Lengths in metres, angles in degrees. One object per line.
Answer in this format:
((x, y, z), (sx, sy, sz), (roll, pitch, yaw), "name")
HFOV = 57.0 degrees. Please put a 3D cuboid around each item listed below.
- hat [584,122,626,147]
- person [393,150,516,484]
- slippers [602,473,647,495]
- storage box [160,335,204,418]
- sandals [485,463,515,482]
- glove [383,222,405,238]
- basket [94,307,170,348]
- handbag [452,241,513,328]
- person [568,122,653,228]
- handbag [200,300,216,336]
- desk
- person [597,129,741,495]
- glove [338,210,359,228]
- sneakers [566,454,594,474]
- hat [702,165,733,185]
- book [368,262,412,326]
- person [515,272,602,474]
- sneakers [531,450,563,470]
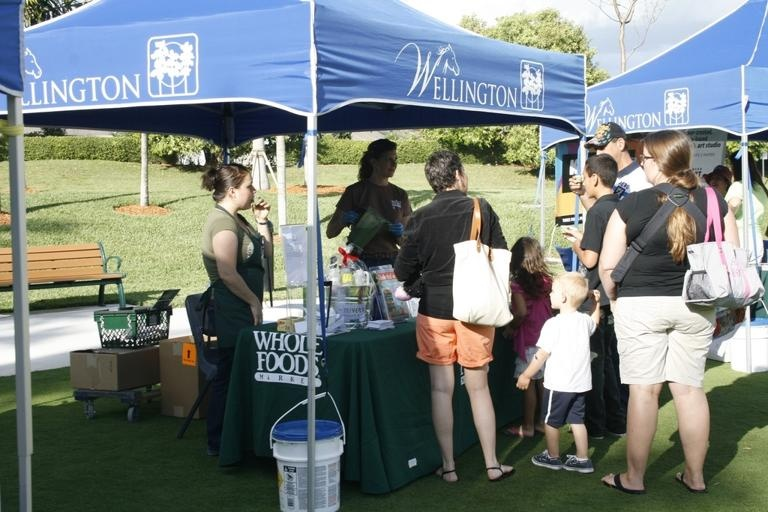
((1.977, -1.064, 6.265), (0.277, 0.165, 0.189), (0, 4, -3), "hat")
((0.527, 0.484, 5.528), (0.886, 2.567, 0.450), (-1, 7, 0), "person")
((1.850, 1.733, 5.429), (0.117, 0.099, 0.288), (-7, 11, -38), "slippers")
((-1.925, 1.175, 7.145), (0.388, 0.740, 0.756), (2, 5, 6), "storage box")
((0.928, 1.702, 5.638), (0.247, 0.106, 0.095), (-6, 5, -41), "sandals")
((0.095, -0.229, 6.598), (0.142, 0.151, 0.113), (-3, 3, 16), "glove")
((-2.502, 0.726, 7.163), (0.408, 0.311, 0.615), (-1, -1, 15), "basket")
((0.716, 0.216, 5.283), (0.557, 0.727, 0.271), (4, -3, -20), "handbag")
((1.954, -0.742, 6.609), (0.746, 1.202, 0.677), (0, -3, -15), "person")
((-1.523, 0.522, 5.952), (0.221, 0.289, 0.233), (-2, -2, -10), "handbag")
((-0.072, 1.153, 5.951), (1.170, 1.048, 2.038), (0, 0, 34), "desk")
((2.029, 0.452, 5.264), (0.831, 2.708, 0.398), (1, 7, 18), "person")
((-0.312, -0.356, 6.276), (0.146, 0.124, 0.153), (-15, -29, 23), "glove")
((1.566, 1.678, 5.715), (0.238, 0.110, 0.105), (3, 0, 37), "sneakers")
((4.354, -1.049, 9.050), (0.345, 0.140, 0.293), (27, -19, -26), "hat")
((0.038, 0.322, 5.776), (0.104, 0.417, 0.374), (-8, -4, 41), "book")
((1.420, 0.944, 5.710), (0.588, 1.595, 0.298), (0, 7, 5), "person")
((1.330, 1.677, 5.839), (0.265, 0.133, 0.110), (7, 4, 39), "sneakers")
